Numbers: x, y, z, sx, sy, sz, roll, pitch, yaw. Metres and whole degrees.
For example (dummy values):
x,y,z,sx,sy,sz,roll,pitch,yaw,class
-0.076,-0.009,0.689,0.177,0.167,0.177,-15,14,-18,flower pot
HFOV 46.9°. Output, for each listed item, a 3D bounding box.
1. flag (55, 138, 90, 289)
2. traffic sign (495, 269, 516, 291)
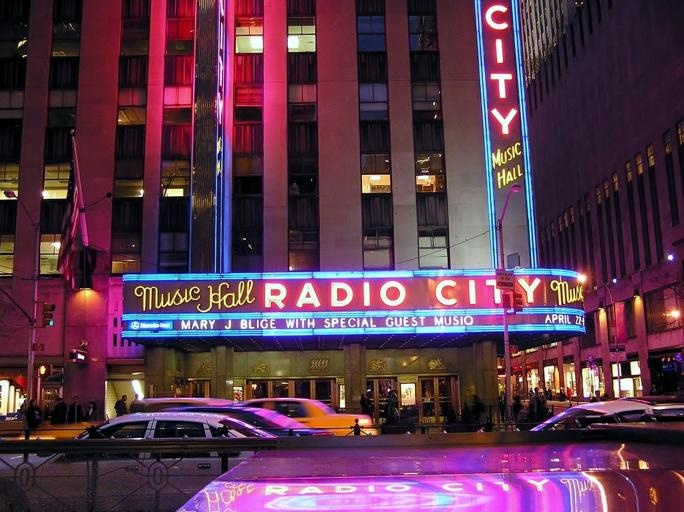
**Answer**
x,y,z,sx,sy,sz,roll,pitch,yaw,class
-15.387,-2.169,45.896,1.592,7.790,5.211,0,-10,-16,flag
7.770,1.137,37.731,0.861,0.893,0.213,-3,0,-23,traffic sign
